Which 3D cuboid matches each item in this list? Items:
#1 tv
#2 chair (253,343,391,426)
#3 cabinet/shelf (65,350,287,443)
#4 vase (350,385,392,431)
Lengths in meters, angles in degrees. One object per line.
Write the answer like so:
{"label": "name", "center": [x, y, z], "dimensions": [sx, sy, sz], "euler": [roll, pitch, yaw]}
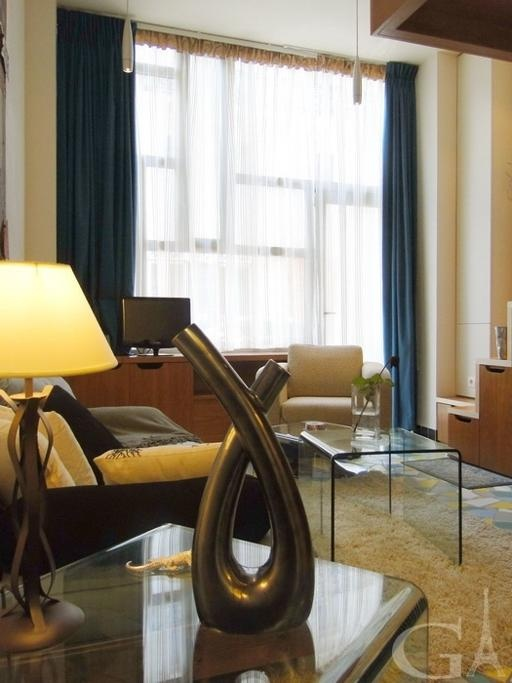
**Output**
{"label": "tv", "center": [-0.660, -0.115, 3.676], "dimensions": [0.325, 0.354, 0.073], "euler": [2, -10, -16]}
{"label": "chair", "center": [0.485, 0.408, 3.993], "dimensions": [0.820, 0.831, 0.655], "euler": [0, -4, 7]}
{"label": "cabinet/shelf", "center": [-0.495, 0.452, 4.072], "dimensions": [1.335, 0.803, 0.396], "euler": [-2, 4, -21]}
{"label": "vase", "center": [0.555, 0.336, 2.745], "dimensions": [0.123, 0.278, 0.130], "euler": [1, 8, 40]}
